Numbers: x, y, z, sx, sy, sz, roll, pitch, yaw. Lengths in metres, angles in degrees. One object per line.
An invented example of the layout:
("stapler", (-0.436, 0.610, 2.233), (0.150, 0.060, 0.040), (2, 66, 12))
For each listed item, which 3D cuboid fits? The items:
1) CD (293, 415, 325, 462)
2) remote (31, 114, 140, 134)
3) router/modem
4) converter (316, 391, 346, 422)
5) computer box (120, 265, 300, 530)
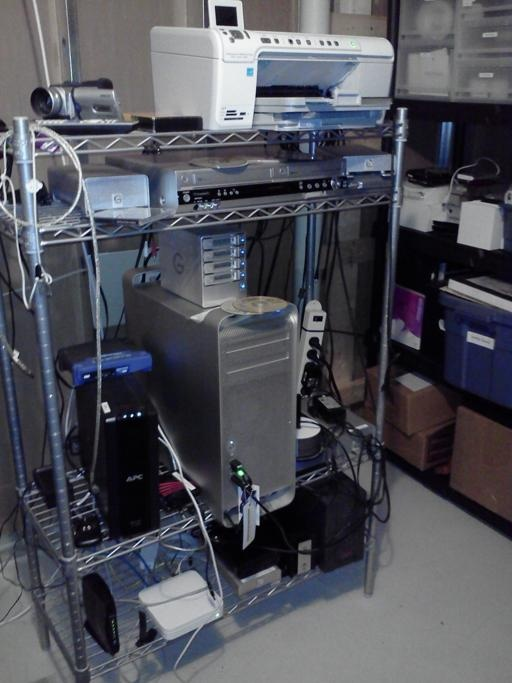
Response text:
("CD", (0.160, 0.289, 1.771), (0.078, 0.041, 0.109), (-1, 17, -3))
("remote", (-0.294, -0.385, 1.049), (0.164, 0.039, 0.177), (17, 23, 35))
("router/modem", (-0.187, 0.653, 1.448), (0.174, 0.044, 0.179), (-12, 23, -32))
("converter", (0.244, 0.218, 1.917), (0.064, 0.057, 0.111), (-8, 27, -17))
("computer box", (-0.090, 0.094, 1.481), (0.318, 0.612, 0.402), (-10, 24, -28))
